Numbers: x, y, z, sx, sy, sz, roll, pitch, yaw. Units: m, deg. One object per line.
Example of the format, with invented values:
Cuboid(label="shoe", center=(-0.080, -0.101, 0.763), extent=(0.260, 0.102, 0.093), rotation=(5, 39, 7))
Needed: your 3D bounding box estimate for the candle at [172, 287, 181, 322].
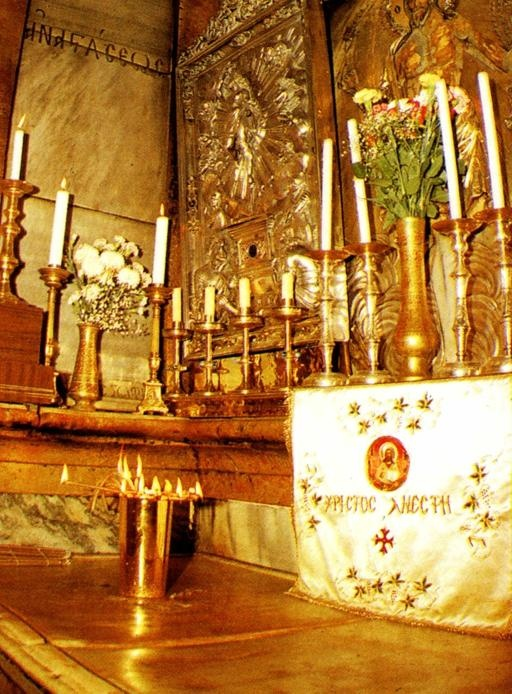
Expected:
Cuboid(label="candle", center=(-0.319, -0.165, 3.048), extent=(0.032, 0.142, 0.037), rotation=(-1, -9, -2))

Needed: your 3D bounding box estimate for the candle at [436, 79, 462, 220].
Cuboid(label="candle", center=(0.535, -0.550, 2.163), extent=(0.057, 0.428, 0.052), rotation=(0, -7, -45))

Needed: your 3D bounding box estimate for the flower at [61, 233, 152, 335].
Cuboid(label="flower", center=(-0.620, -0.249, 3.070), extent=(0.404, 0.391, 0.331), rotation=(9, 19, 19))

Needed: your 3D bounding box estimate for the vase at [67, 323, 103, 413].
Cuboid(label="vase", center=(-0.656, 0.071, 2.908), extent=(0.110, 0.336, 0.189), rotation=(-2, -8, 2))

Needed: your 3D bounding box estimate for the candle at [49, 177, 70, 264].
Cuboid(label="candle", center=(-0.772, -0.481, 2.992), extent=(0.077, 0.422, 0.324), rotation=(1, -8, -14))

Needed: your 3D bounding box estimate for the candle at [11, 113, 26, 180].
Cuboid(label="candle", center=(-0.925, -0.770, 2.949), extent=(0.060, 0.336, 0.228), rotation=(1, -9, -18))

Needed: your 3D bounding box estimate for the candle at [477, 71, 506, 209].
Cuboid(label="candle", center=(0.642, -0.561, 2.075), extent=(0.042, 0.414, 0.095), rotation=(-4, -9, 16))

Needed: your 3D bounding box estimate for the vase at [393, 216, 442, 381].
Cuboid(label="vase", center=(0.454, -0.144, 2.194), extent=(0.123, 0.483, 0.174), rotation=(-3, -9, 10))
